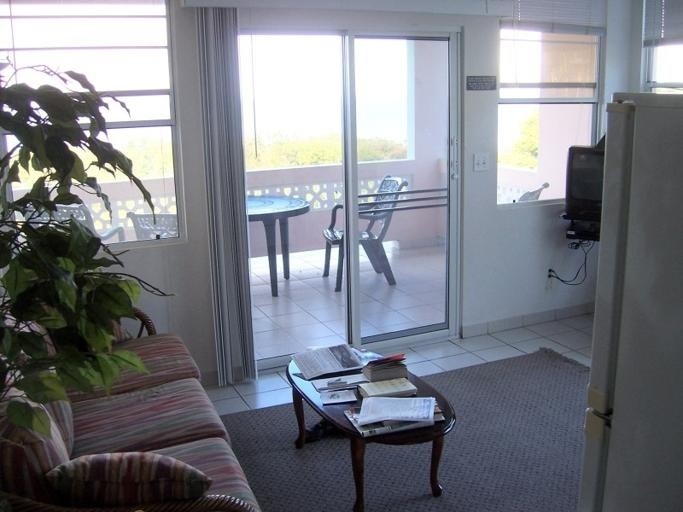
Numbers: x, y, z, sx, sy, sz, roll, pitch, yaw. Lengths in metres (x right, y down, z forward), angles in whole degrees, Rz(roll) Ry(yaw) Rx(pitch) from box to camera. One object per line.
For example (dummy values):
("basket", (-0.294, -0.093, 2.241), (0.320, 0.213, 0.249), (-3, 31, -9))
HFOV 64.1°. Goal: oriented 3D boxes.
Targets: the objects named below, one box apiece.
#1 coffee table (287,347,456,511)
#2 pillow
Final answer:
("coffee table", (0.157, 0.978, 3.065), (0.668, 0.531, 1.029), (-16, 19, -37))
("pillow", (-0.745, 0.772, 1.889), (0.270, 0.096, 0.265), (5, -11, -36))
